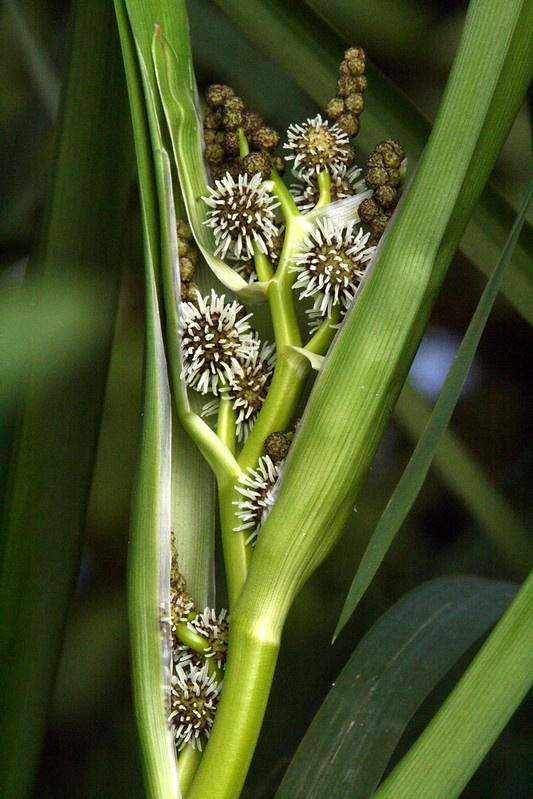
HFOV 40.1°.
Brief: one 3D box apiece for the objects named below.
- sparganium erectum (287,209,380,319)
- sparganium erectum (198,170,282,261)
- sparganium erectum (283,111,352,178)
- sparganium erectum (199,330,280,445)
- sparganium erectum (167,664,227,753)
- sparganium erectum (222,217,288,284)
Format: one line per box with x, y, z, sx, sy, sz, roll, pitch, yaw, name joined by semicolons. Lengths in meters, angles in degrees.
0.029;-0.061;0.329;0.032;0.043;0.032;30;-24;-35;sparganium erectum
-0.013;-0.085;0.342;0.036;0.035;0.031;2;-24;33;sparganium erectum
0.024;-0.113;0.341;0.030;0.029;0.016;41;3;-2;sparganium erectum
-0.008;-0.004;0.335;0.020;0.043;0.042;22;-5;13;sparganium erectum
-0.032;0.129;0.317;0.029;0.034;0.021;12;-7;-14;sparganium erectum
-0.005;-0.065;0.348;0.027;0.029;0.011;-19;-32;28;sparganium erectum
